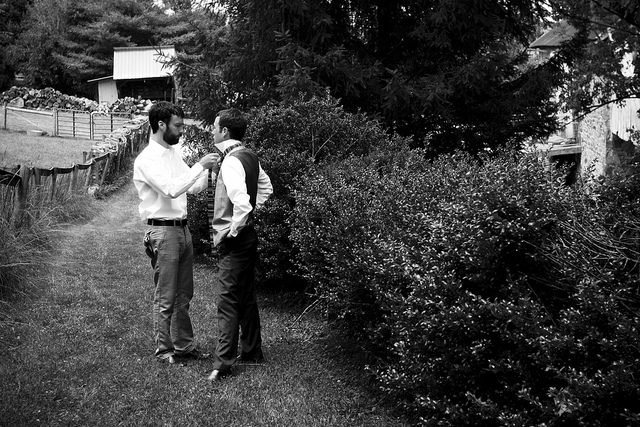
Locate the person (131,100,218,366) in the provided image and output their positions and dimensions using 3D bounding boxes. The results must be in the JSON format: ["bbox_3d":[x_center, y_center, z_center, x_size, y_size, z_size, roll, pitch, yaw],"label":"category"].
[{"bbox_3d":[-1.823,0.234,7.177,0.939,3.223,0.715,11,12,37],"label":"person"}]

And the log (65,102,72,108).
[{"bbox_3d":[-19.347,-8.387,43.627,0.321,0.332,0.079,11,3,9],"label":"log"}]

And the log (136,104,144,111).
[{"bbox_3d":[-13.496,-8.072,42.604,0.418,0.316,0.430,12,32,5],"label":"log"}]

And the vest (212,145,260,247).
[{"bbox_3d":[-1.038,-0.191,6.955,0.539,1.257,0.503,3,10,-5],"label":"vest"}]

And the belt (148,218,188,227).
[{"bbox_3d":[-1.911,0.119,7.094,0.459,0.112,0.151,0,12,-18],"label":"belt"}]

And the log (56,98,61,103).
[{"bbox_3d":[-20.267,-8.823,43.887,0.309,0.338,0.145,-2,11,-27],"label":"log"}]

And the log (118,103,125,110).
[{"bbox_3d":[-14.911,-8.101,42.515,0.445,0.467,0.243,0,11,-19],"label":"log"}]
